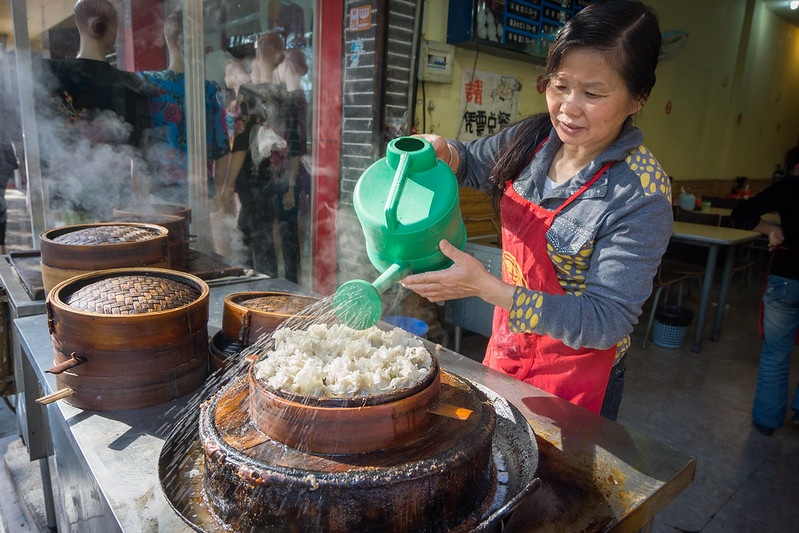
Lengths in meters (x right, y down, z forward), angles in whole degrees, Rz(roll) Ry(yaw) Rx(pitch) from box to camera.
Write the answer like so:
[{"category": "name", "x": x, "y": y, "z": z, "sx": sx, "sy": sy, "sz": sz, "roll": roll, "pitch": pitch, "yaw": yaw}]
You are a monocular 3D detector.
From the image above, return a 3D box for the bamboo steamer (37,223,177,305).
[{"category": "bamboo steamer", "x": -1.710, "y": -0.113, "z": 3.223, "sx": 0.499, "sy": 0.393, "sz": 0.516, "roll": 10, "pitch": 16, "yaw": 27}]

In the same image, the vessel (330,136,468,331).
[{"category": "vessel", "x": 0.032, "y": -0.163, "z": 2.594, "sx": 0.538, "sy": 0.834, "sz": 0.521, "roll": 6, "pitch": 16, "yaw": 6}]

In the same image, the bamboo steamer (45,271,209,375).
[{"category": "bamboo steamer", "x": -1.390, "y": 0.236, "z": 2.839, "sx": 0.810, "sy": 0.309, "sz": 0.704, "roll": -10, "pitch": 25, "yaw": -43}]

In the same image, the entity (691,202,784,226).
[{"category": "entity", "x": 3.942, "y": -0.611, "z": 6.570, "sx": 0.573, "sy": 0.140, "sz": 0.383, "roll": 24, "pitch": 36, "yaw": 39}]

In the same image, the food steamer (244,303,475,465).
[{"category": "food steamer", "x": -0.238, "y": 0.458, "z": 2.320, "sx": 0.697, "sy": 0.225, "sz": 0.531, "roll": 9, "pitch": 17, "yaw": 15}]

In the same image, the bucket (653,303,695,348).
[{"category": "bucket", "x": 3.140, "y": 0.687, "z": 6.454, "sx": 0.422, "sy": 0.395, "sz": 0.470, "roll": 11, "pitch": 10, "yaw": 33}]
